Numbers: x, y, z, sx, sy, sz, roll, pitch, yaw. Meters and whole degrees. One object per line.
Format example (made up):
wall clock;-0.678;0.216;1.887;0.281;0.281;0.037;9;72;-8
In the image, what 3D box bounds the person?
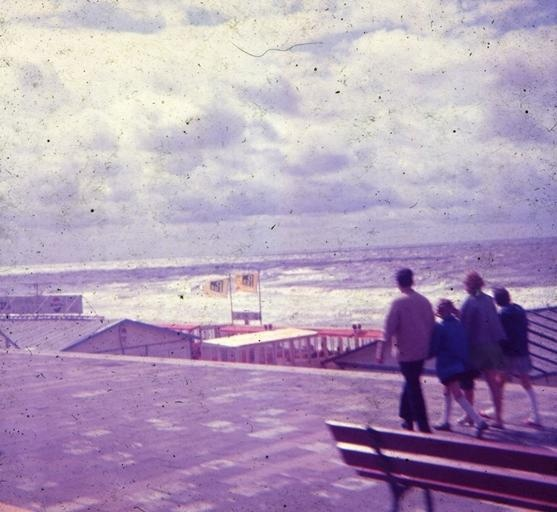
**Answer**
person;1.740;0.986;6.378;1.462;1.635;0.542;-2;-2;-25
